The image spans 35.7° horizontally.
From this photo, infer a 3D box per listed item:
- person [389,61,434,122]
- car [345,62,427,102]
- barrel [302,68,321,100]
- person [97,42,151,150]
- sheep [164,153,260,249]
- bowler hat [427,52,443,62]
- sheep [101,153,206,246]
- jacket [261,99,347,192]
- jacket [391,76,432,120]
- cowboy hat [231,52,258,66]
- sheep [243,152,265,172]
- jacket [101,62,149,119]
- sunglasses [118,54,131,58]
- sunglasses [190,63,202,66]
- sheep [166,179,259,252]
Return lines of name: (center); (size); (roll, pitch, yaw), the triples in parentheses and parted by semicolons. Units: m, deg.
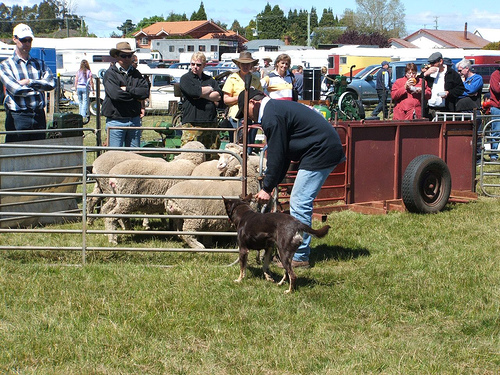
person: (3.183, -1.907, 15.283); (0.754, 1.106, 2.399); (2, 7, 12)
car: (5.695, -4.023, 29.387); (3.964, 1.880, 2.234); (1, 7, -2)
barrel: (1.485, -2.512, 18.860); (0.326, 0.748, 1.129); (3, 7, 14)
person: (-2.205, -1.629, 13.659); (0.854, 1.826, 0.891); (0, 7, -8)
sheep: (-0.429, 0.256, 11.597); (1.949, 1.566, 0.653); (0, -3, -38)
bowler hat: (3.759, -2.631, 15.610); (0.250, 0.143, 0.173); (-8, 8, -40)
sheep: (-1.337, 0.042, 11.926); (1.861, 1.516, 0.631); (-5, 20, -17)
jacket: (0.634, -0.582, 10.338); (1.232, 1.255, 0.952); (0, 9, 33)
jacket: (3.206, -1.740, 15.393); (0.745, 1.001, 0.538); (-2, 0, -7)
cowboy hat: (-0.039, -2.269, 13.583); (0.331, 0.207, 0.349); (1, 7, 2)
sheep: (0.077, -0.385, 11.586); (0.241, 0.198, 0.336); (1, 2, 3)
jacket: (-2.235, -1.705, 13.897); (0.782, 1.030, 0.645); (-3, 9, -28)
sunglasses: (-2.193, -2.327, 13.720); (0.119, 0.056, 0.258); (7, 9, 37)
sunglasses: (-0.932, -2.134, 13.464); (0.164, 0.043, 0.105); (1, 7, 0)
sheep: (-0.429, 0.405, 11.483); (1.620, 1.192, 0.600); (-1, 5, -26)
